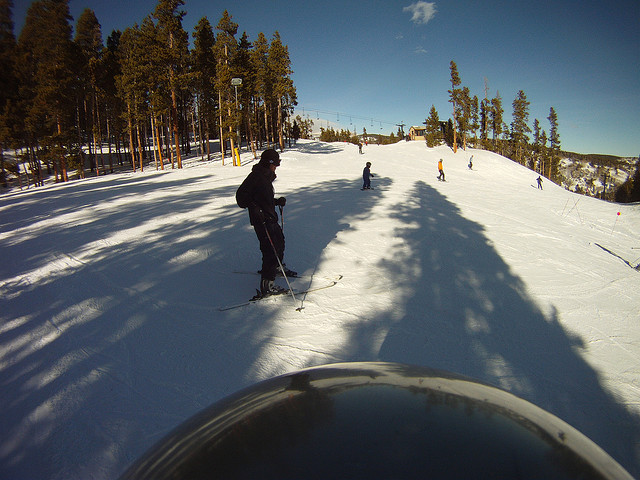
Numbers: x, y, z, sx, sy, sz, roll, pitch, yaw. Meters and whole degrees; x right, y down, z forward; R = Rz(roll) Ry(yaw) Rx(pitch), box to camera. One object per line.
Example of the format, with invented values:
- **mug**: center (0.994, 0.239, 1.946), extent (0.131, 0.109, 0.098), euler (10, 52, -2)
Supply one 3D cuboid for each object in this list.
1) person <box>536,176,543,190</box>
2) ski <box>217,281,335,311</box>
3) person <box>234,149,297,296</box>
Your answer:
- **person**: center (15.589, -4.073, 29.633), extent (0.322, 0.781, 1.121), euler (8, 20, 26)
- **ski**: center (-0.803, 0.970, 7.164), extent (1.218, 0.145, 0.147), euler (-13, -18, -22)
- **person**: center (-0.926, -0.405, 7.478), extent (0.852, 2.445, 1.518), euler (0, 17, 1)
